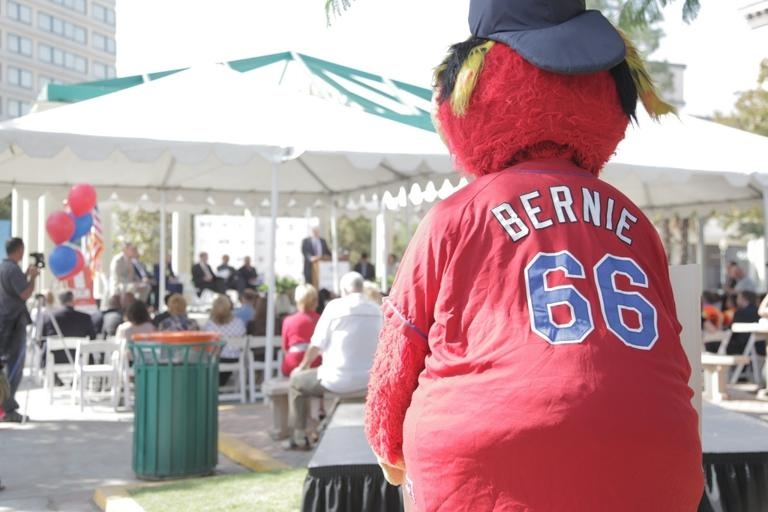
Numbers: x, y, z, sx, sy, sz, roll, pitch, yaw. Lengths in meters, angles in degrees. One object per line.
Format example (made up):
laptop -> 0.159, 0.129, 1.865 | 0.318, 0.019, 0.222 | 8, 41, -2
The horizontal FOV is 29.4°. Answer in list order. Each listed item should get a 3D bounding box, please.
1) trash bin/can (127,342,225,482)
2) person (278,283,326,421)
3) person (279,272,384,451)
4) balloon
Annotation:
trash bin/can -> -3.572, 2.577, 24.576 | 1.923, 2.568, 1.930 | 1, -6, -12
person -> -1.487, 1.430, 26.236 | 0.752, 1.802, 0.980 | 5, 6, -6
person -> -0.917, 1.732, 24.859 | 0.972, 2.854, 1.354 | 0, -1, -44
balloon -> -5.935, -0.513, 27.684 | 0.876, 1.864, 1.724 | 1, -6, -12
